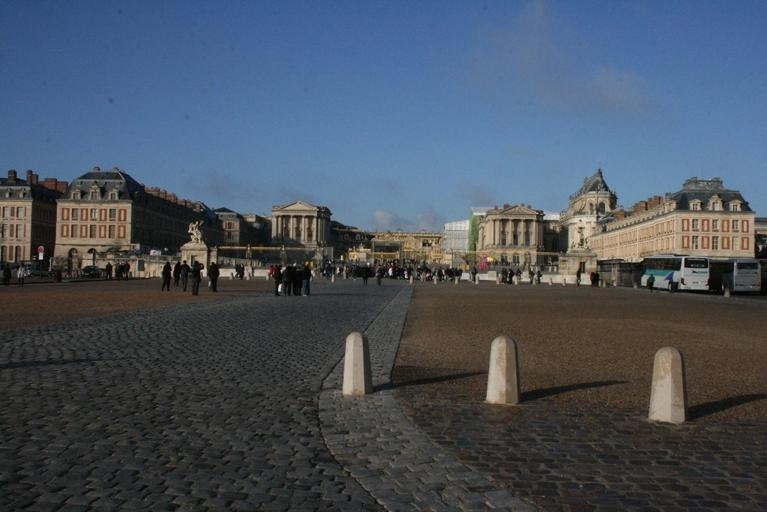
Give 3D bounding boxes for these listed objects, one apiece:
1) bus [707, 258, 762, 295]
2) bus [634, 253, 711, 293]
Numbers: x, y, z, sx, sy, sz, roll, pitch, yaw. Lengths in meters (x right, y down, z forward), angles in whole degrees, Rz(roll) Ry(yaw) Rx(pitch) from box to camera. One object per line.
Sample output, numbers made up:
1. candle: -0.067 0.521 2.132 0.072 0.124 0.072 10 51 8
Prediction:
1. bus: 23.086 1.306 46.519 2.077 1.663 5.760 1 2 5
2. bus: 20.302 1.132 48.828 1.962 1.849 5.852 1 4 -1
